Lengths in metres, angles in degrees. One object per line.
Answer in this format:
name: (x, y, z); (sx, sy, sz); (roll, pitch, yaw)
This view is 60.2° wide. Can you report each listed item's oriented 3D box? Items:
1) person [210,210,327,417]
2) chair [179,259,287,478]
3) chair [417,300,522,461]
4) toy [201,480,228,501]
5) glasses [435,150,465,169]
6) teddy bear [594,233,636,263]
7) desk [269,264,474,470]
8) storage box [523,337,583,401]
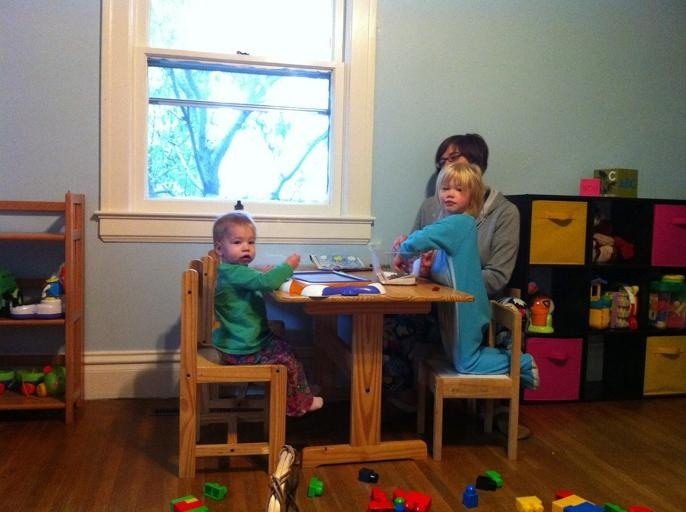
person: (-0.327, 0.257, 2.555); (0.471, 0.839, 0.398); (0, 5, 7)
chair: (-0.481, 0.444, 2.558); (0.446, 0.842, 0.635); (-1, 12, -11)
chair: (0.536, 0.508, 3.080); (0.579, 1.053, 0.723); (1, 3, 0)
toy: (-0.487, 0.897, 2.303); (0.078, 0.050, 0.058); (2, -3, 43)
glasses: (0.561, -0.525, 3.167); (0.102, 0.042, 0.098); (-16, -8, -45)
teddy bear: (1.494, -0.043, 3.295); (0.206, 0.091, 0.168); (7, 14, -16)
desk: (0.147, 0.352, 2.614); (0.653, 0.608, 1.236); (-1, 4, -12)
storage box: (1.109, 0.611, 3.229); (0.316, 0.316, 0.244); (3, 2, -7)
